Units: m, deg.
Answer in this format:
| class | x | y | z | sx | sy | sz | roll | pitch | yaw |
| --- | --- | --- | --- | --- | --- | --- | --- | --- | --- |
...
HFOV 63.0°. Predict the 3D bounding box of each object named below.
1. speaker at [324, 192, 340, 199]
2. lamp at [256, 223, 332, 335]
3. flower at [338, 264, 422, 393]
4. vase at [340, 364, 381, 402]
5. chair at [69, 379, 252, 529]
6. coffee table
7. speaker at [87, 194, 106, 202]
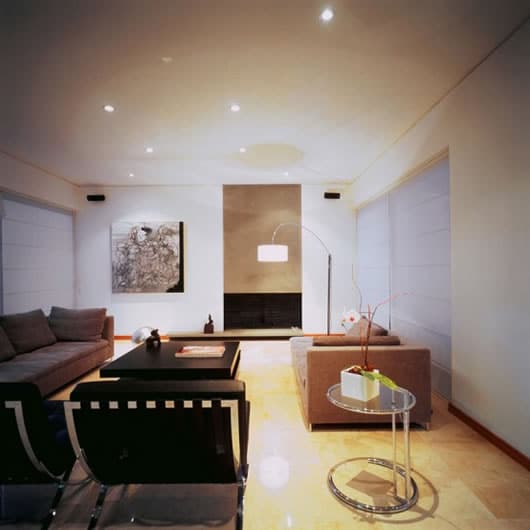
| class | x | y | z | sx | sy | sz | roll | pitch | yaw |
| --- | --- | --- | --- | --- | --- | --- | --- | --- | --- |
| speaker | 1.032 | -1.070 | 6.678 | 0.248 | 0.120 | 0.206 | 1 | 6 | 10 |
| lamp | 0.457 | 0.252 | 6.197 | 1.171 | 1.722 | 1.408 | 0 | 6 | -1 |
| flower | 1.125 | 0.569 | 4.112 | 0.543 | 1.508 | 0.746 | -4 | 8 | -23 |
| vase | 0.569 | 0.747 | 2.681 | 0.151 | 0.198 | 0.242 | 0 | -3 | 17 |
| chair | -0.538 | 0.881 | 2.363 | 0.590 | 0.651 | 0.953 | 0 | -14 | 2 |
| coffee table | -0.821 | 0.940 | 4.073 | 1.193 | 0.222 | 1.062 | 1 | 6 | 12 |
| speaker | -2.607 | -1.030 | 6.623 | 0.288 | 0.120 | 0.229 | -2 | 6 | -18 |
